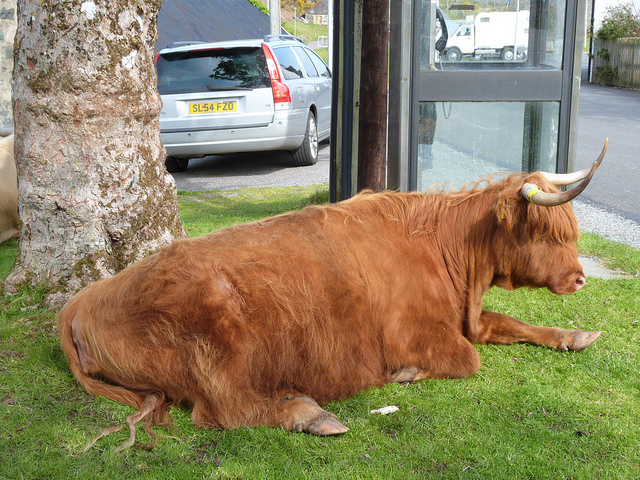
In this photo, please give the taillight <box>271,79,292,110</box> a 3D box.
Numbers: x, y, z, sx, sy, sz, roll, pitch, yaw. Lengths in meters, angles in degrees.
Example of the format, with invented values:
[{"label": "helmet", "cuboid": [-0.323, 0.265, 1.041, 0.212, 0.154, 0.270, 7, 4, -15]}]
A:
[{"label": "taillight", "cuboid": [-0.630, -2.477, 10.520, 0.329, 0.795, 0.406, -6, 19, -7]}]
